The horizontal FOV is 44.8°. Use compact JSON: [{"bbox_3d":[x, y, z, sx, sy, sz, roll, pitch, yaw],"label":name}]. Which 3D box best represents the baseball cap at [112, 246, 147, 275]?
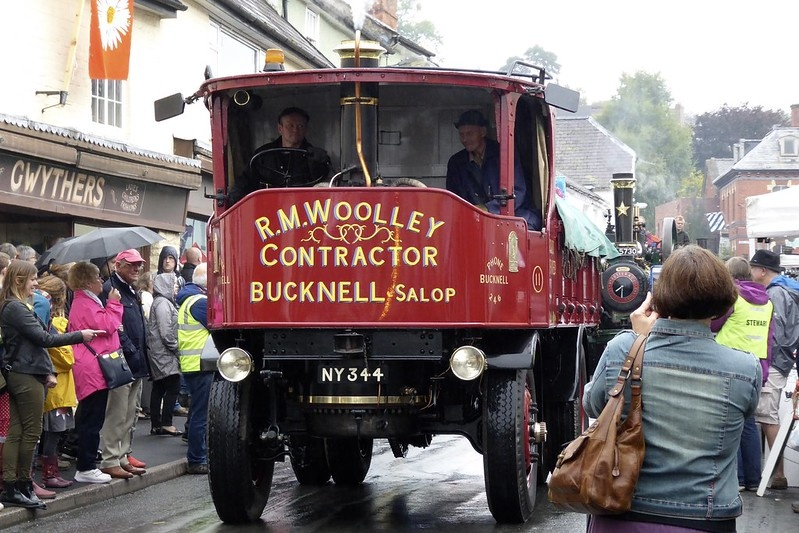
[{"bbox_3d":[-3.260,-0.114,11.562,0.484,0.255,0.342,-10,-12,38],"label":"baseball cap"}]

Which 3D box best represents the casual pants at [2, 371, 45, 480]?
[{"bbox_3d":[-3.699,1.591,9.583,0.390,1.009,0.154,0,0,-23],"label":"casual pants"}]

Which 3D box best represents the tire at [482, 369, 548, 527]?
[{"bbox_3d":[1.086,1.722,9.216,0.382,1.442,0.758,-1,0,35],"label":"tire"}]

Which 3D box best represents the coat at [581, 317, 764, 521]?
[{"bbox_3d":[1.677,1.005,6.251,1.184,1.196,0.660,4,-4,0],"label":"coat"}]

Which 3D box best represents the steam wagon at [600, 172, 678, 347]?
[{"bbox_3d":[4.249,-0.270,17.538,1.478,2.822,5.008,-2,5,17],"label":"steam wagon"}]

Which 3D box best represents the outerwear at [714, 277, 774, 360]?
[{"bbox_3d":[3.796,0.658,10.670,0.761,0.874,0.559,4,0,-30],"label":"outerwear"}]

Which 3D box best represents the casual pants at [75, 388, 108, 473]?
[{"bbox_3d":[-3.341,1.710,10.564,0.279,1.115,0.300,-4,10,-37],"label":"casual pants"}]

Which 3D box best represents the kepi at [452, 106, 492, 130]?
[{"bbox_3d":[0.821,-1.636,10.674,0.392,0.164,0.483,0,2,-1],"label":"kepi"}]

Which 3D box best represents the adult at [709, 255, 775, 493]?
[{"bbox_3d":[3.714,1.159,10.785,0.703,2.430,0.706,5,-2,9],"label":"adult"}]

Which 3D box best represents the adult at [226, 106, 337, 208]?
[{"bbox_3d":[-1.262,-1.126,10.860,1.295,1.712,0.983,1,-7,-6],"label":"adult"}]

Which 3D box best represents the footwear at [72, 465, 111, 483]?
[{"bbox_3d":[-3.329,2.274,10.613,0.417,0.183,0.154,0,0,4],"label":"footwear"}]

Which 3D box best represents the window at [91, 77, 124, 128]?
[{"bbox_3d":[-5.372,-3.000,17.777,0.066,1.021,0.907,-8,-12,29],"label":"window"}]

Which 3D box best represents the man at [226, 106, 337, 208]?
[{"bbox_3d":[-1.249,-1.135,10.812,1.295,1.712,0.983,1,-7,-6],"label":"man"}]
